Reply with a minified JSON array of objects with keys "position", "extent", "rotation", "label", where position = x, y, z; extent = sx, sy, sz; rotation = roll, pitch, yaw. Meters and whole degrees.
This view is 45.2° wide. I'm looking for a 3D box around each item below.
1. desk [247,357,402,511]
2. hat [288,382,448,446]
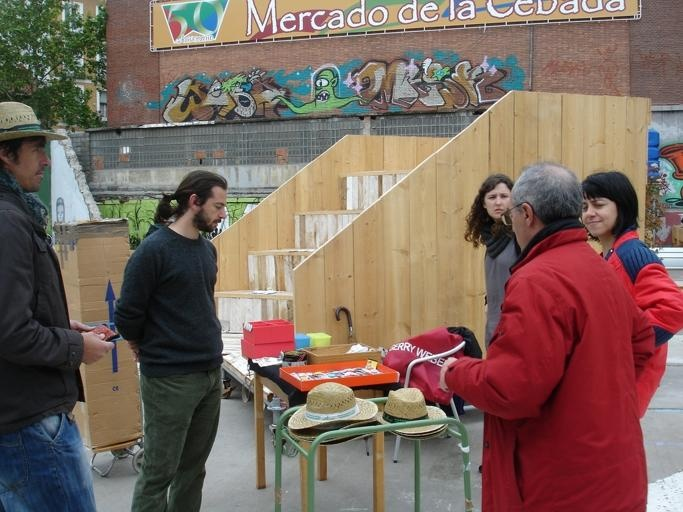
[{"position":[-0.072,1.134,6.108],"extent":[0.897,1.077,1.069],"rotation":[0,0,-22],"label":"desk"},{"position":[-0.042,1.008,5.223],"extent":[0.585,0.409,0.358],"rotation":[-2,2,1],"label":"hat"}]
